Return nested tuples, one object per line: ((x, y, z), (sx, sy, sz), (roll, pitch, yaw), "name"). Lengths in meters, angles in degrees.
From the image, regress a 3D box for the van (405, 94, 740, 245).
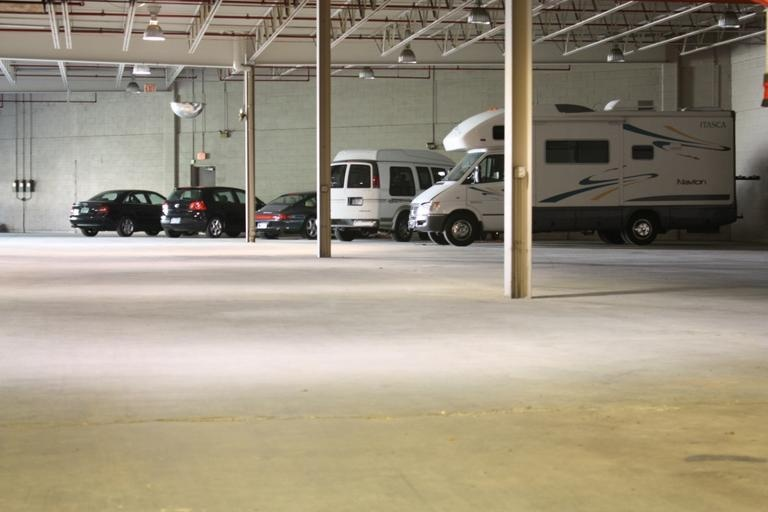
((5.390, -2.409, 24.824), (10.451, 4.761, 3.767), (0, 0, -1), "van")

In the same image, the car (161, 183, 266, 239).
((-6.272, -1.720, 29.238), (2.032, 1.412, 3.352), (1, 6, 43), "car")

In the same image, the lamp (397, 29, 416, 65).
((0.752, -6.999, 27.056), (0.751, 0.778, 0.734), (2, -1, -4), "lamp")

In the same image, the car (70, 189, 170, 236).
((-10.069, -1.716, 30.950), (1.927, 1.418, 4.214), (1, 4, 35), "car")

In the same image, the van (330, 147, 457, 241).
((-0.241, -2.173, 25.904), (4.214, 2.134, 2.401), (-5, 6, -40), "van")
